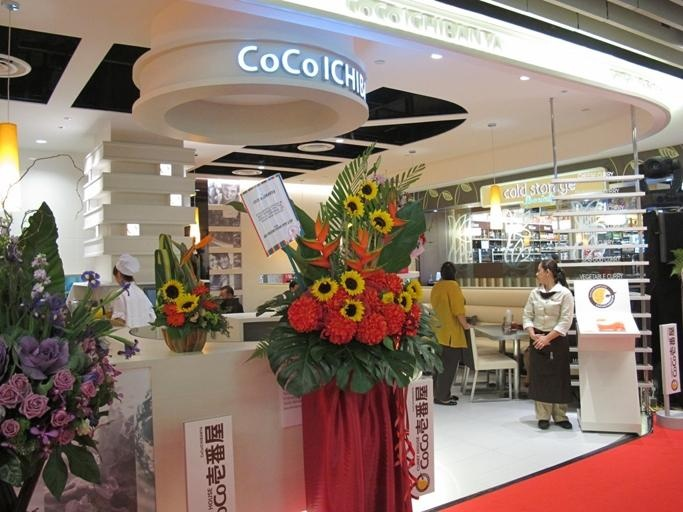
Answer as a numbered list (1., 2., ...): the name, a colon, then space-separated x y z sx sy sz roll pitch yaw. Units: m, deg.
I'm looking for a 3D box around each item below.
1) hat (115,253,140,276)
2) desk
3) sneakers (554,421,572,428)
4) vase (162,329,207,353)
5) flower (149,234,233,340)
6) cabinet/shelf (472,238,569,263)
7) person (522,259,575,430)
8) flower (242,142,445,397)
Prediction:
1. hat: -2.067 0.079 4.534 0.233 0.164 0.257 -9 37 -39
2. desk: 2.107 1.417 6.383 0.680 0.951 1.358 -2 -2 16
3. sneakers: 2.421 1.829 5.086 0.063 0.071 0.171 2 -8 -25
4. vase: -0.695 0.381 2.077 0.137 0.069 0.141 0 -7 4
5. flower: -0.729 0.179 2.125 0.332 0.447 0.177 -21 -4 -42
6. cabinet/shelf: 3.677 -0.150 10.025 0.340 0.509 1.999 0 -3 -34
7. person: 2.254 0.953 5.055 0.481 1.809 0.389 -2 -2 21
8. flower: 0.026 0.045 1.927 0.764 0.993 0.401 -1 -2 -11
